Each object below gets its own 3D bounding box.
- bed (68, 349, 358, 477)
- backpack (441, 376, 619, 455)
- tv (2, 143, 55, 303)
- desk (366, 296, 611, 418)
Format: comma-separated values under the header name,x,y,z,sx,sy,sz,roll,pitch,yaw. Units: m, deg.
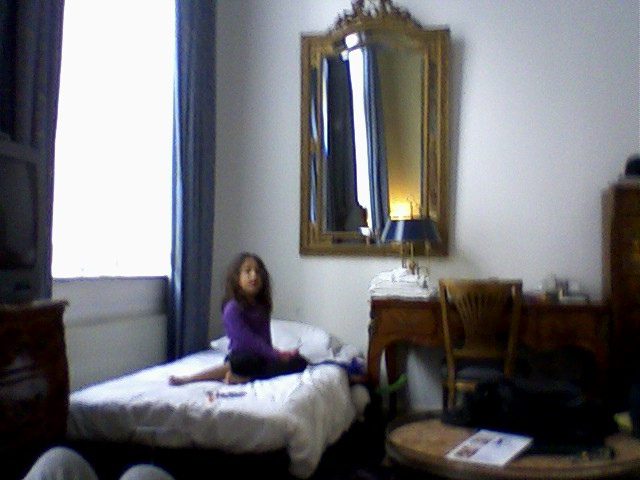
name,x,y,z,sx,sy,sz,roll,pitch,yaw
bed,-0.372,0.720,2.191,1.215,0.304,0.523,7,12,-26
backpack,1.013,0.861,2.553,0.531,0.183,0.415,4,3,32
tv,-0.975,-0.053,1.773,0.196,0.502,0.173,18,13,42
desk,0.892,0.681,2.880,1.197,0.830,0.479,0,2,17
